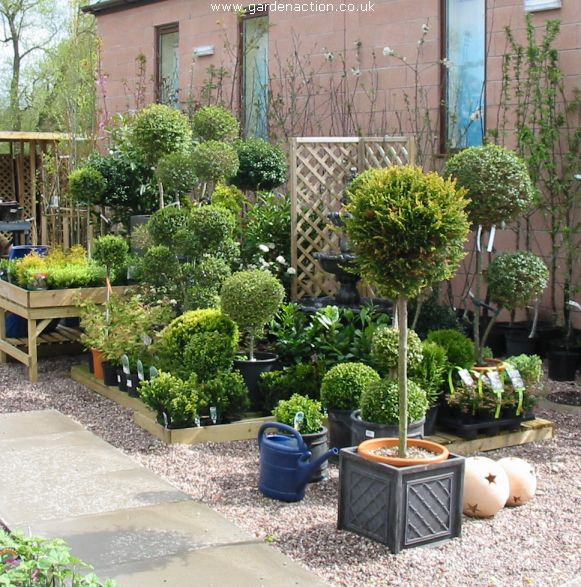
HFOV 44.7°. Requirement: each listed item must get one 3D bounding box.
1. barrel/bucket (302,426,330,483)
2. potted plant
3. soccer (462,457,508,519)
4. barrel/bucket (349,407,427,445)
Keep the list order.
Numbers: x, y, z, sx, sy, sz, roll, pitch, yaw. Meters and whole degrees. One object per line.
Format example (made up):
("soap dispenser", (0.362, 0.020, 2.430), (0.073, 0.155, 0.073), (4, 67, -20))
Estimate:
("barrel/bucket", (0.144, 0.844, 3.669), (0.225, 0.237, 0.255), (-1, 3, 1))
("potted plant", (-0.934, -0.405, 5.533), (2.129, 2.413, 2.815), (-1, 6, -28))
("soccer", (0.919, 0.920, 3.308), (0.229, 0.273, 0.160), (2, 6, 5))
("barrel/bucket", (0.451, 0.668, 3.531), (0.230, 0.152, 0.218), (0, -1, 0))
